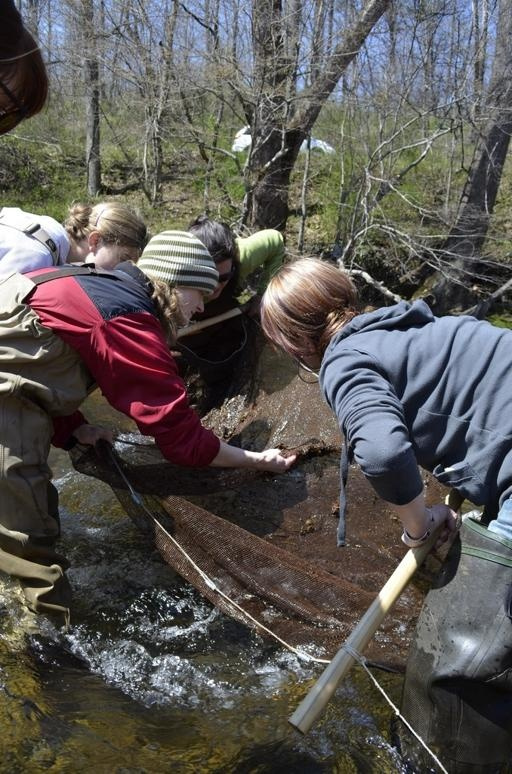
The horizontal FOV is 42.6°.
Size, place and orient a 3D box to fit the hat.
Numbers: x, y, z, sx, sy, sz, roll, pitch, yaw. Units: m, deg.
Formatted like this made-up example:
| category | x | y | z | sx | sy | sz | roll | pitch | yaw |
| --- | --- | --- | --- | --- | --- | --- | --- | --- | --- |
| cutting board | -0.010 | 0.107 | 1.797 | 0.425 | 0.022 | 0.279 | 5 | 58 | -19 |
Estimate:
| category | x | y | z | sx | sy | sz | roll | pitch | yaw |
| --- | --- | --- | --- | --- | --- | --- | --- | --- | --- |
| hat | -0.321 | -0.551 | 2.925 | 0.371 | 0.256 | 0.294 | 23 | 15 | 41 |
